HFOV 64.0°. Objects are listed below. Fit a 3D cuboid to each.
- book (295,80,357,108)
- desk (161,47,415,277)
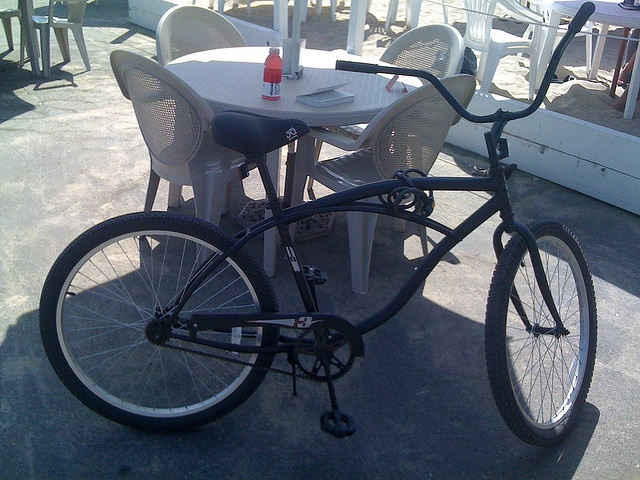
[{"bbox_3d":[0.042,-0.780,2.792,0.242,0.084,0.175,-18,33,-30],"label":"book"},{"bbox_3d":[-0.118,-0.409,3.567,1.477,1.110,1.471,-23,45,-35],"label":"desk"}]
